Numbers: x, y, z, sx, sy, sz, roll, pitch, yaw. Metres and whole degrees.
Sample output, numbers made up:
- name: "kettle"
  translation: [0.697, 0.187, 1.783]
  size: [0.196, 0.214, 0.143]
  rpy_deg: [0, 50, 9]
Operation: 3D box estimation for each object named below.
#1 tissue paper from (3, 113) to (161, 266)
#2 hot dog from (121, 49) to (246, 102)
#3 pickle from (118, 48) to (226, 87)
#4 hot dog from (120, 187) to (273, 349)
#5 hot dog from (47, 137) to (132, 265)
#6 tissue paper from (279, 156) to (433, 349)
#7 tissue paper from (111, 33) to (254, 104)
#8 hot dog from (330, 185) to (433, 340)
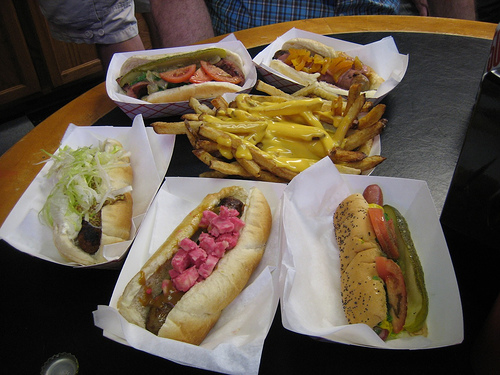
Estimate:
- name: "tissue paper"
  translation: [-1.014, 0.082, 2.420]
  size: [0.690, 0.315, 0.963]
  rpy_deg: [8, 53, 3]
- name: "hot dog"
  translation: [-0.565, -0.820, 3.213]
  size: [0.862, 0.249, 0.560]
  rpy_deg: [-6, 54, -1]
- name: "pickle"
  translation: [-0.623, -1.101, 3.184]
  size: [0.932, 0.210, 0.185]
  rpy_deg: [-13, 38, -20]
- name: "hot dog"
  translation: [-0.227, 0.400, 2.094]
  size: [0.474, 0.310, 0.942]
  rpy_deg: [23, 59, 20]
- name: "hot dog"
  translation: [-1.004, 0.077, 2.409]
  size: [0.464, 0.309, 0.924]
  rpy_deg: [-5, 52, -18]
- name: "tissue paper"
  translation: [0.545, 0.364, 1.962]
  size: [0.483, 0.147, 0.755]
  rpy_deg: [6, 55, -1]
- name: "tissue paper"
  translation: [-0.654, -1.035, 3.206]
  size: [1.408, 0.627, 0.877]
  rpy_deg: [-21, 31, -35]
- name: "hot dog"
  translation: [0.661, 0.347, 1.954]
  size: [0.360, 0.237, 0.734]
  rpy_deg: [-11, 58, 13]
